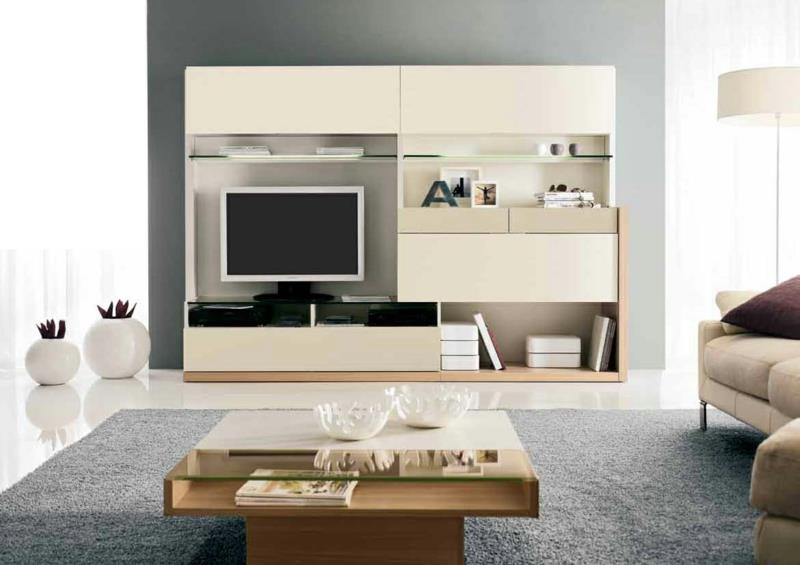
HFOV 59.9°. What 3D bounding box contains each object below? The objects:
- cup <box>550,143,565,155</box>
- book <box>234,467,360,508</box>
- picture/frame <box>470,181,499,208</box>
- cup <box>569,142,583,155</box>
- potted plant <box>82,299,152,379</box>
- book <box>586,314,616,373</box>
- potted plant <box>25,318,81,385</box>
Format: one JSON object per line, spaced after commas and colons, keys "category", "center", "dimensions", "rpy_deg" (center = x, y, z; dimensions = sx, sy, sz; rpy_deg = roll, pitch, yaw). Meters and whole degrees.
{"category": "cup", "center": [1.226, -1.038, 5.414], "dimensions": [0.103, 0.067, 0.088], "rpy_deg": [0, 4, 4]}
{"category": "book", "center": [-0.392, 0.770, 2.645], "dimensions": [0.460, 0.136, 0.182], "rpy_deg": [-1, 9, -5]}
{"category": "picture/frame", "center": [0.664, -0.695, 5.522], "dimensions": [0.294, 0.243, 0.027], "rpy_deg": [0, 4, -2]}
{"category": "cup", "center": [1.360, -1.029, 5.353], "dimensions": [0.099, 0.087, 0.091], "rpy_deg": [-1, 5, 0]}
{"category": "potted plant", "center": [-2.209, 0.448, 5.393], "dimensions": [0.485, 0.600, 0.235], "rpy_deg": [-3, 10, -17]}
{"category": "book", "center": [1.556, 0.470, 5.379], "dimensions": [0.092, 0.326, 0.354], "rpy_deg": [8, 1, -6]}
{"category": "potted plant", "center": [-2.631, 0.529, 5.235], "dimensions": [0.309, 0.479, 0.264], "rpy_deg": [5, 10, 28]}
